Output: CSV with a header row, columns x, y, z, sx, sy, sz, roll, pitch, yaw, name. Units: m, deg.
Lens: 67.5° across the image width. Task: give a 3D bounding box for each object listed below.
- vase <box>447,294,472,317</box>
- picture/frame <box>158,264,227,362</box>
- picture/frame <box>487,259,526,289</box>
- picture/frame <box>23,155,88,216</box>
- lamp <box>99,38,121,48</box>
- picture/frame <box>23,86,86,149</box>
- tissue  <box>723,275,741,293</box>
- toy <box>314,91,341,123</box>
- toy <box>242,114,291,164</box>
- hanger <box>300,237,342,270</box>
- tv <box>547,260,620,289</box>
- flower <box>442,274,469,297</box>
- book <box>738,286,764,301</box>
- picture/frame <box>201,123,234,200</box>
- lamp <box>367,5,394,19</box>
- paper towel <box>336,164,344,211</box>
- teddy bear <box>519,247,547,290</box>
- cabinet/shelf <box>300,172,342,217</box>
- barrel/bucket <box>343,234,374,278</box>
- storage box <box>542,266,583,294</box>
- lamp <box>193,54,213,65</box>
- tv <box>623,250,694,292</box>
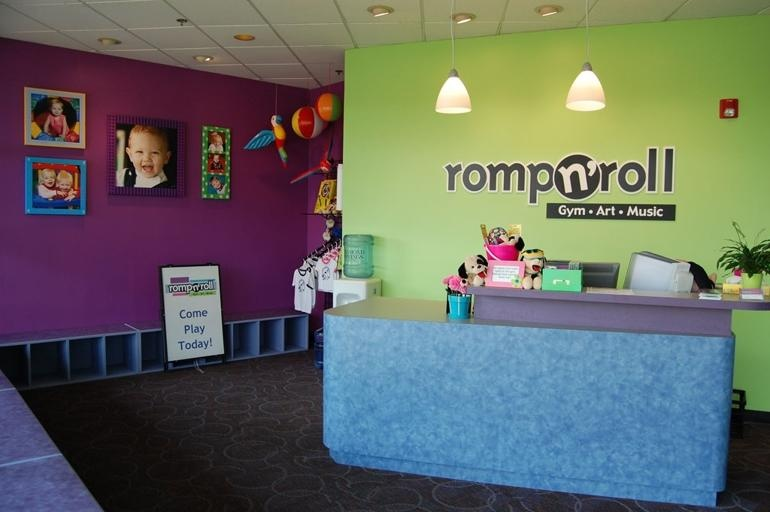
x,y,z,sx,sy,sz,roll,pitch,yaw,name
0.650,0.420,5.036,0.200,0.207,0.184,2,11,7,vase
-2.500,0.705,7.490,0.733,1.152,0.511,-3,12,-20,picture/frame
1.034,0.162,4.882,0.263,0.183,0.027,0,-12,22,picture/frame
-4.086,-0.871,7.092,0.816,0.804,0.065,-1,5,-33,picture/frame
-3.308,-2.549,6.926,0.304,0.062,0.248,6,12,25,lamp
-4.075,-1.689,7.050,0.879,0.886,0.035,0,0,-32,picture/frame
2.899,0.236,4.785,0.158,0.038,0.168,2,37,38,tissue 
-0.782,-2.037,7.981,0.380,0.412,0.383,17,24,41,toy
-1.673,-1.730,8.499,0.540,0.648,0.913,19,26,22,toy
-0.915,-0.001,8.122,0.260,0.351,0.790,13,-22,-31,hanger
1.704,0.146,4.952,0.526,0.258,0.485,1,-1,27,tv
0.617,0.254,4.995,0.173,0.164,0.068,8,-8,24,flower
2.908,0.297,4.563,0.194,0.078,0.096,-2,11,-15,book
-2.364,-1.295,8.062,0.421,0.983,0.197,-3,12,-19,picture/frame
-0.046,-2.570,6.085,0.269,0.054,0.241,1,11,2,lamp
-0.565,-0.874,7.382,0.039,0.583,0.191,-3,12,-20,paper towel
1.259,0.122,4.880,0.226,0.338,0.234,2,-3,-5,teddy bear
-0.945,-0.842,8.164,0.650,0.722,0.474,11,9,41,cabinet/shelf
-0.333,-0.003,7.204,0.400,0.521,0.205,2,11,4,barrel/bucket
1.458,0.203,4.737,0.237,0.130,0.226,1,4,21,storage box
-2.346,-2.535,7.495,0.263,0.062,0.265,-1,11,-8,lamp
2.308,0.170,4.977,0.354,0.329,0.641,0,11,-6,tv
